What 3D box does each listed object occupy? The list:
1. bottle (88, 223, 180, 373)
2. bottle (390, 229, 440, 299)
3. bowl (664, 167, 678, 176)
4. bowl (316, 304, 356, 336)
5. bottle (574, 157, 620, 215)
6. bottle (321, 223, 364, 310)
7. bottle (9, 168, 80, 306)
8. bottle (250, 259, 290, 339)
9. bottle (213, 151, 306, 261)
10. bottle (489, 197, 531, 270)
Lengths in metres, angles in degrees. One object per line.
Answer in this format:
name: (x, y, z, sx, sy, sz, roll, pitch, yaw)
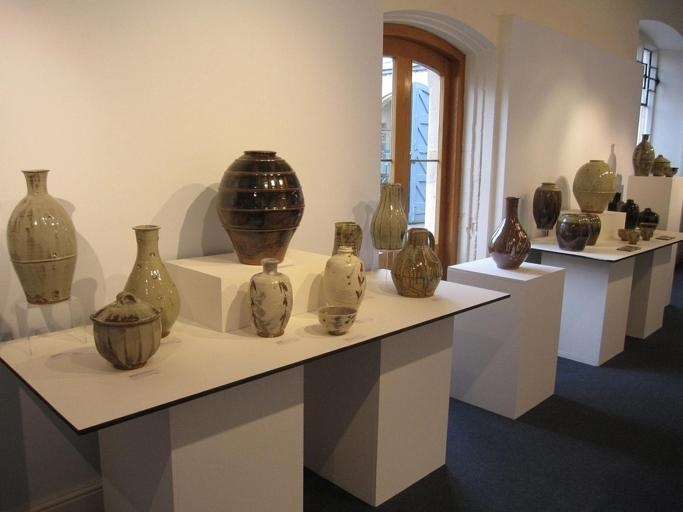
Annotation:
bottle: (-0.731, 0.133, 1.805, 0.225, 0.425, 0.408, 0, 14, -1)
bottle: (0.387, 0.001, 2.589, 0.284, 0.419, 0.295, 2, 11, 0)
bowl: (3.677, -0.934, 5.576, 0.139, 0.097, 0.146, 1, 1, 0)
bowl: (-0.019, 0.254, 2.072, 0.151, 0.092, 0.187, 1, 14, 0)
bottle: (2.148, -0.637, 4.516, 0.402, 0.529, 0.424, -1, 7, 0)
bottle: (0.001, 0.047, 2.338, 0.186, 0.332, 0.485, 0, 14, -2)
bottle: (-1.083, -0.064, 1.823, 0.151, 0.488, 0.185, 9, 16, 32)
bottle: (-0.276, 0.167, 1.959, 0.164, 0.299, 0.093, -2, 14, -13)
bottle: (-0.296, -0.241, 2.265, 0.389, 0.510, 0.417, 0, 9, 0)
bottle: (1.093, -0.155, 3.259, 0.246, 0.459, 0.205, 5, 14, 19)
